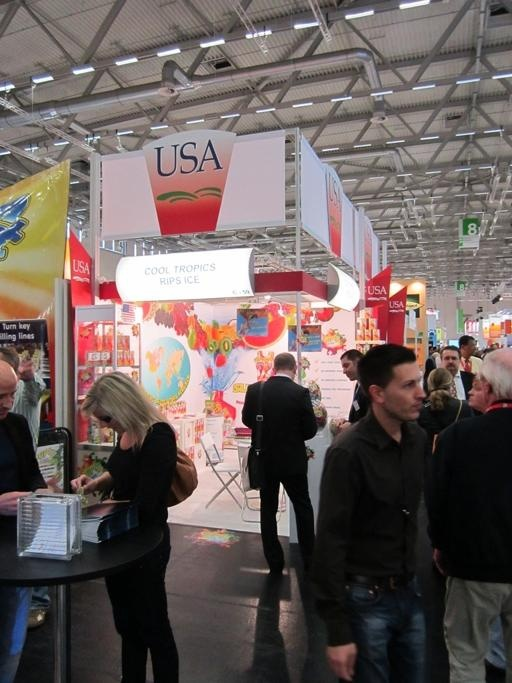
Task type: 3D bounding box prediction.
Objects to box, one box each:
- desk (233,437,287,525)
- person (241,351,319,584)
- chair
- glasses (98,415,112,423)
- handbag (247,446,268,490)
[{"bbox_3d":[-0.017,1.419,5.200,0.486,0.646,0.508,-18,-9,-39],"label":"desk"},{"bbox_3d":[0.168,0.913,3.658,0.487,1.364,0.235,-1,-5,-2],"label":"person"},{"bbox_3d":[-0.307,1.484,5.982,0.434,0.580,0.386,-18,-3,-1],"label":"chair"},{"bbox_3d":[-0.559,0.285,1.976,0.037,0.036,0.012,-11,-10,35],"label":"glasses"},{"bbox_3d":[0.018,0.851,3.581,0.139,0.325,0.310,-1,-1,-2],"label":"handbag"}]
